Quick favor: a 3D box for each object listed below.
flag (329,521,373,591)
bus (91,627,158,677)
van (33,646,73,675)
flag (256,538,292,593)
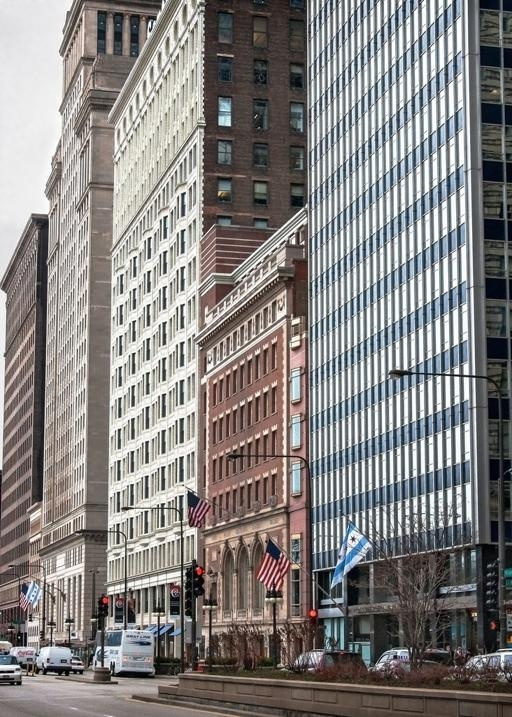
[{"bbox_3d":[4.306,7.985,60.635,1.234,4.403,2.173,3,-16,-16],"label":"flag"},{"bbox_3d":[-7.447,16.533,82.595,1.923,2.937,6.179,4,-10,-19],"label":"bus"},{"bbox_3d":[-12.573,18.400,89.739,1.537,1.709,3.231,3,-9,-15],"label":"van"},{"bbox_3d":[0.646,8.451,59.884,1.332,2.406,0.219,-2,7,9],"label":"flag"}]
